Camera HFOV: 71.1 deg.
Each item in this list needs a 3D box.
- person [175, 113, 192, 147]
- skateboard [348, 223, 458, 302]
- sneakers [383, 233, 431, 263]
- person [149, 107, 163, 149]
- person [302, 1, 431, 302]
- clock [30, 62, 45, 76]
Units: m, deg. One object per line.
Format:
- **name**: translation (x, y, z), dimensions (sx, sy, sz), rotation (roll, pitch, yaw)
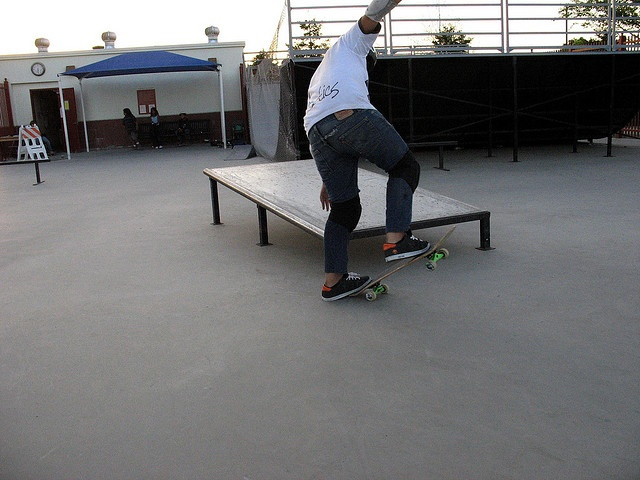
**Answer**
- **person**: translation (-5.913, -4.687, 19.170), dimensions (0.543, 1.323, 0.906), rotation (-5, 16, -5)
- **skateboard**: translation (0.558, 0.177, 3.081), dimensions (0.725, 0.139, 0.193), rotation (-33, -10, 9)
- **sneakers**: translation (0.503, 0.052, 2.696), dimensions (0.323, 0.145, 0.118), rotation (-12, 6, -9)
- **person**: translation (-6.968, -4.691, 18.863), dimensions (0.409, 1.648, 1.585), rotation (-9, 17, -18)
- **person**: translation (0.270, -0.472, 2.722), dimensions (0.744, 1.745, 0.431), rotation (1, 17, 14)
- **clock**: translation (-12.121, -7.255, 19.240), dimensions (0.522, 0.504, 0.117), rotation (14, 6, -1)
